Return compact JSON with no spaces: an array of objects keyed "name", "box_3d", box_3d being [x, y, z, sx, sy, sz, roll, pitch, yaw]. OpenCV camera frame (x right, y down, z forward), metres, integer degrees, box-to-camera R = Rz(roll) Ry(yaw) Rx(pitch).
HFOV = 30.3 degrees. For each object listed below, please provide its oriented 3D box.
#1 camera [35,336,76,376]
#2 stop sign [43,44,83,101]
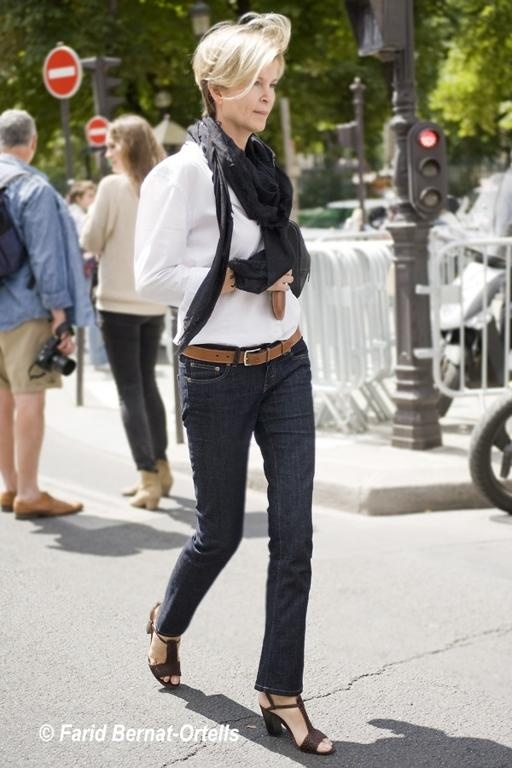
[{"name":"camera","box_3d":[-1.027,-0.150,4.837,0.131,0.128,0.127,31,45,13]},{"name":"stop sign","box_3d":[-1.986,-3.289,9.804,0.361,0.563,0.628,-4,10,-9]}]
